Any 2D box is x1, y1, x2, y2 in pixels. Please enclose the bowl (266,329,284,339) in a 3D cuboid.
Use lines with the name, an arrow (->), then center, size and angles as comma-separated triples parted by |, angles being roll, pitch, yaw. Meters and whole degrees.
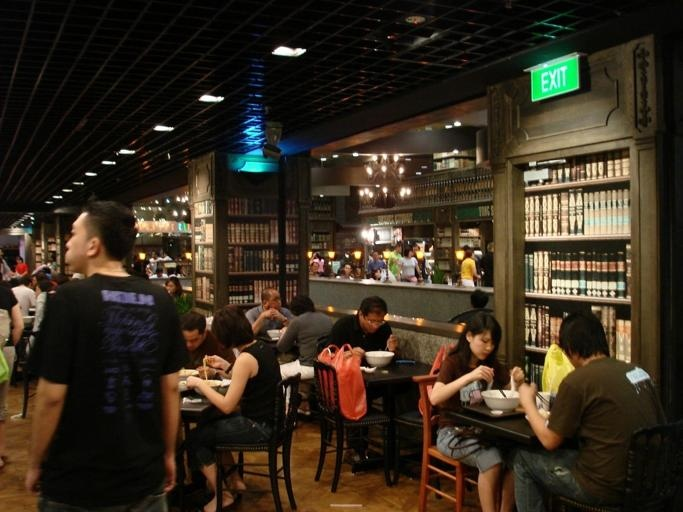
bowl -> -0.807, 0.971, 6.837 | 0.201, 0.078, 0.165 | 4, -7, -42

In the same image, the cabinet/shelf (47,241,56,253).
cabinet/shelf -> -14.145, -0.483, 26.629 | 0.485, 0.494, 0.120 | -1, -13, 1

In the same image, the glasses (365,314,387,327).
glasses -> 0.334, 0.631, 5.327 | 0.137, 0.175, 0.166 | 6, 6, -24

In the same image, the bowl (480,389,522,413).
bowl -> 1.080, 0.961, 3.645 | 0.246, 0.139, 0.233 | -1, -1, 0

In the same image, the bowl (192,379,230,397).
bowl -> -0.988, 1.050, 4.405 | 0.160, 0.080, 0.321 | -1, -1, -24

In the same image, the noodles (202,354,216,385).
noodles -> -1.130, 0.961, 4.633 | 0.062, 0.189, 0.134 | -2, -11, 5
